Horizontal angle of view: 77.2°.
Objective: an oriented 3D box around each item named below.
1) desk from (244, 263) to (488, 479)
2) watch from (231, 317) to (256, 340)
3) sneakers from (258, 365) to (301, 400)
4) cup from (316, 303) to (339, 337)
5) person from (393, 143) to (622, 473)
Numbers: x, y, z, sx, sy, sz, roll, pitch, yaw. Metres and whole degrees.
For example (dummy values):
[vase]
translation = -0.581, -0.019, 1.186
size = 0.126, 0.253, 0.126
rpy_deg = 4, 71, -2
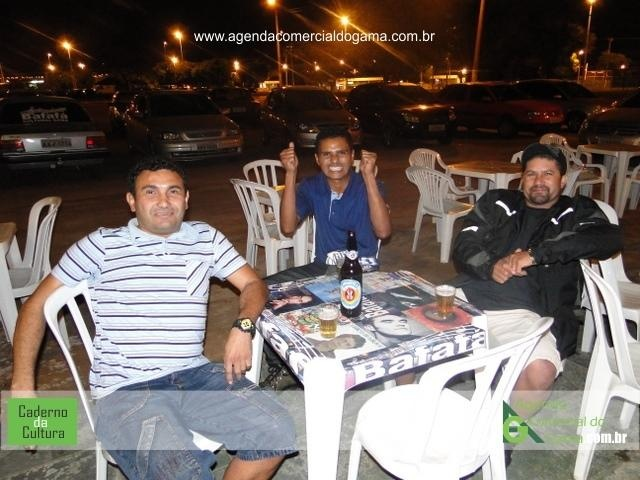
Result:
[desk]
translation = 0.301, 0.784, 2.346
size = 1.157, 0.737, 1.058
rpy_deg = -13, 29, -24
[watch]
translation = -0.408, 0.465, 2.095
size = 0.101, 0.053, 0.115
rpy_deg = 21, -26, -13
[sneakers]
translation = -0.301, 1.014, 2.914
size = 0.260, 0.228, 0.084
rpy_deg = 37, -20, -8
[cup]
translation = 0.034, 0.391, 1.960
size = 0.088, 0.138, 0.178
rpy_deg = -1, 7, 1
[person]
translation = 1.287, 0.332, 2.828
size = 1.486, 1.880, 1.166
rpy_deg = 3, 2, 24
